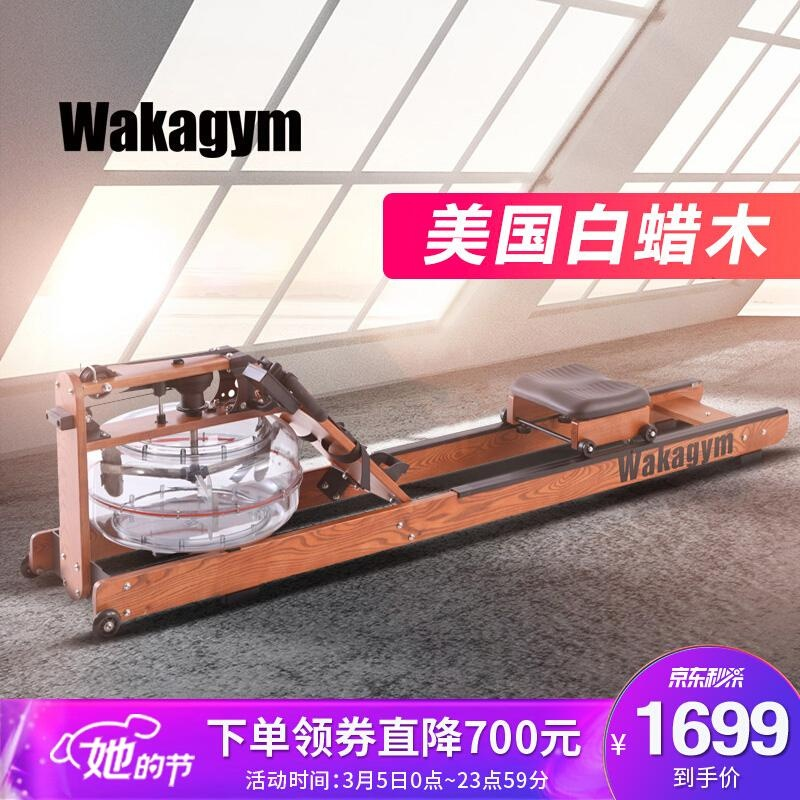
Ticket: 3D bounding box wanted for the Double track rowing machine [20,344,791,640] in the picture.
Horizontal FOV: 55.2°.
[{"bbox_3d":[0.210,0.133,3.269,3.250,0.607,0.705,-10,16,-28],"label":"Double track rowing machine"}]
